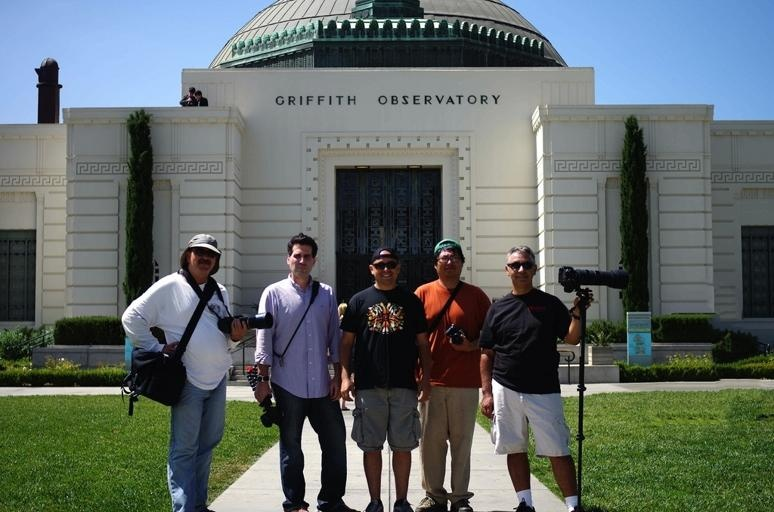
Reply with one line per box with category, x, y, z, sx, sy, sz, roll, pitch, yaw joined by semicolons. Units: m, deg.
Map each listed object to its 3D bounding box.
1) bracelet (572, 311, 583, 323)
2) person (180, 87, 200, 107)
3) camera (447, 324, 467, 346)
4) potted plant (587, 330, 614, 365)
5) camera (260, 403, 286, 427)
bracelet;4.070;1.289;23.675;0.203;0.249;0.094;-3;-4;21
person;-7.568;-6.066;42.649;0.685;0.948;1.455;1;-1;-12
camera;1.461;1.689;23.859;0.293;0.362;0.483;-17;-4;-3
potted plant;7.150;3.110;38.360;0.959;1.153;0.970;7;0;25
camera;-2.471;3.399;23.766;0.475;0.469;0.378;0;-1;14
